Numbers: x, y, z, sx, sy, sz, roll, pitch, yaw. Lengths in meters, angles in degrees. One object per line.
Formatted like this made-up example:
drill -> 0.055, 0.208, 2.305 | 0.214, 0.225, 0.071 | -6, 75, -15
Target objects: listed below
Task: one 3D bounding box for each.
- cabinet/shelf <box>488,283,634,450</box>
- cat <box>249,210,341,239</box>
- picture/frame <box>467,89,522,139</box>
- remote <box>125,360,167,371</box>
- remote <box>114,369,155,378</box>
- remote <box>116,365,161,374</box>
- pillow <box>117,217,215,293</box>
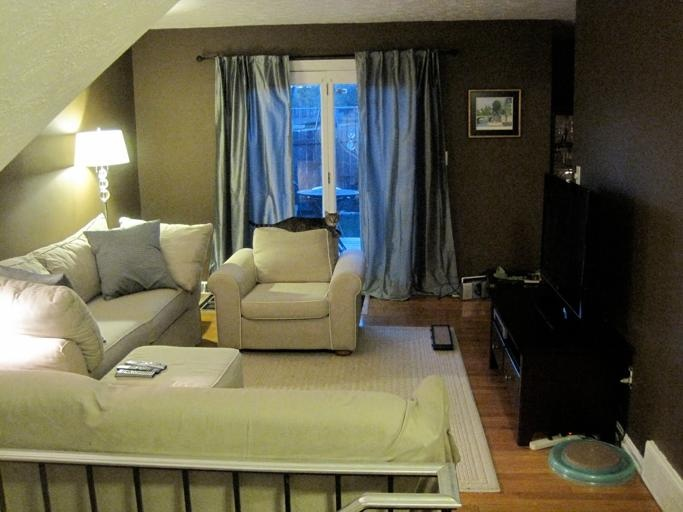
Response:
cabinet/shelf -> 1.199, 0.504, 3.485 | 0.627, 0.586, 1.165 | 2, 20, 7
cat -> -0.456, -0.286, 5.404 | 0.686, 0.299, 0.158 | -1, 48, 1
picture/frame -> 1.519, -1.431, 5.885 | 0.470, 0.450, 0.038 | 0, 7, 3
remote -> -1.070, 0.591, 3.251 | 0.161, 0.034, 0.086 | 4, 6, -1
remote -> -1.097, 0.627, 3.177 | 0.135, 0.027, 0.076 | 3, 6, -5
remote -> -1.098, 0.608, 3.206 | 0.142, 0.031, 0.084 | 2, 2, -6
pillow -> -1.265, -0.012, 4.642 | 0.606, 0.633, 0.251 | 0, -13, 6
